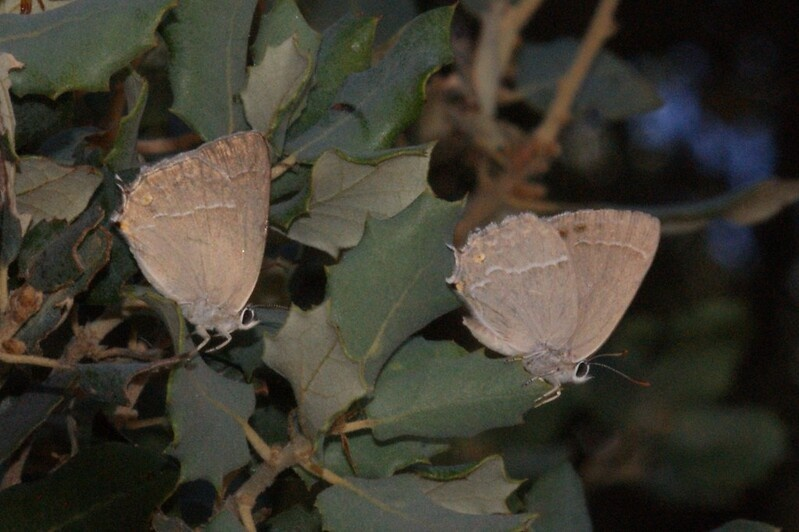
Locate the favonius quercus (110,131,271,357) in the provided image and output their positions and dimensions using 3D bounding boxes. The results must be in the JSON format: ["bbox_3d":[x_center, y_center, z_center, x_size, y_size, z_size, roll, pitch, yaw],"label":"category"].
[{"bbox_3d":[-0.369,-0.036,1.825,0.173,0.278,0.325,-29,27,28],"label":"favonius quercus"}]
